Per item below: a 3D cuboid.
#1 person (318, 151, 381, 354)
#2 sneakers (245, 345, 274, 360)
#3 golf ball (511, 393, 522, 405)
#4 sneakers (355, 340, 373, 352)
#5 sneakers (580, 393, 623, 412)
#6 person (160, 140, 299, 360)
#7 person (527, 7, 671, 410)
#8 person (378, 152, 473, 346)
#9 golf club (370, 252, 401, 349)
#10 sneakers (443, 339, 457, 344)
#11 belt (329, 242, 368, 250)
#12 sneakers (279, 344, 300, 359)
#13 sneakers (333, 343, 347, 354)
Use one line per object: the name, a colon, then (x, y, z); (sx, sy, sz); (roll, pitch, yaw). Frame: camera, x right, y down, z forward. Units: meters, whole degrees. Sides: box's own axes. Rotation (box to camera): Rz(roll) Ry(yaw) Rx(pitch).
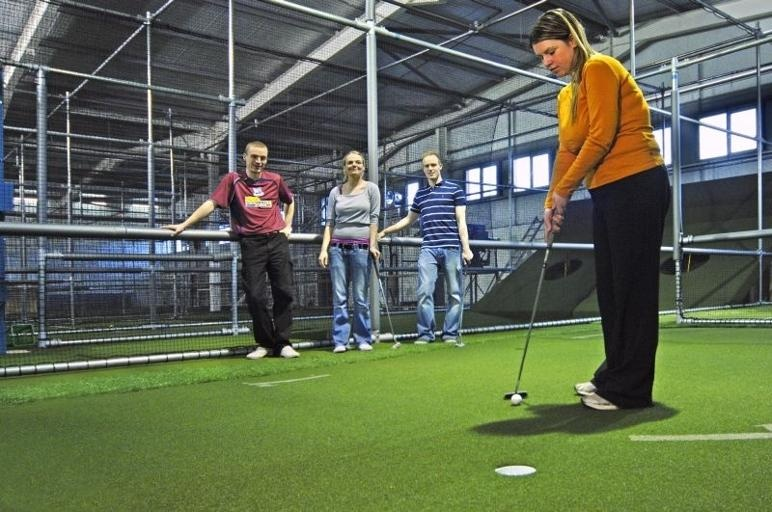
person: (-0.309, -0.068, 5.720); (0.543, 1.737, 0.658); (-2, 8, 0)
sneakers: (-1.048, 0.805, 5.336); (0.224, 0.087, 0.080); (7, -12, -44)
golf ball: (0.778, 0.831, 3.731); (0.061, 0.053, 0.061); (-3, -3, 0)
sneakers: (-0.170, 0.793, 5.620); (0.122, 0.061, 0.151); (-3, 8, -9)
sneakers: (1.237, 0.825, 3.634); (0.200, 0.083, 0.082); (4, 0, 11)
person: (-1.127, -0.068, 5.425); (0.696, 1.784, 0.651); (-3, 9, -7)
person: (1.257, -0.276, 3.682); (0.711, 2.295, 0.497); (2, 9, 23)
person: (0.475, -0.100, 6.169); (0.733, 1.809, 0.697); (1, 9, 18)
golf club: (0.023, 0.432, 6.091); (0.185, 1.001, 0.140); (-13, -2, -21)
sneakers: (0.626, 0.797, 6.026); (0.121, 0.051, 0.040); (-7, -6, 18)
belt: (-0.314, -0.104, 5.718); (0.291, 0.070, 0.035); (-2, 8, -3)
sneakers: (-0.776, 0.791, 5.278); (0.131, 0.092, 0.200); (-6, 9, -27)
sneakers: (-0.384, 0.799, 5.556); (0.123, 0.064, 0.203); (-2, 8, -2)
